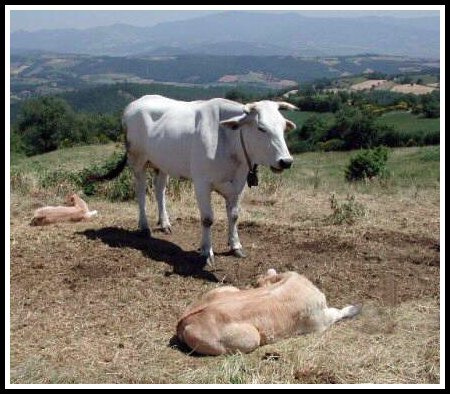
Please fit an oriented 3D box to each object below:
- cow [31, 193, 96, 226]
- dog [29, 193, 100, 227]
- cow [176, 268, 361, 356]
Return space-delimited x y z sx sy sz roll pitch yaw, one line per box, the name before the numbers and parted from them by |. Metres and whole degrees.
cow | -3.383 0.337 9.873 0.803 0.382 1.219 7 19 25
dog | -3.576 0.379 9.839 1.030 0.636 0.329 -5 -11 9
cow | 0.361 1.516 6.214 1.798 0.718 1.114 -12 8 -18
